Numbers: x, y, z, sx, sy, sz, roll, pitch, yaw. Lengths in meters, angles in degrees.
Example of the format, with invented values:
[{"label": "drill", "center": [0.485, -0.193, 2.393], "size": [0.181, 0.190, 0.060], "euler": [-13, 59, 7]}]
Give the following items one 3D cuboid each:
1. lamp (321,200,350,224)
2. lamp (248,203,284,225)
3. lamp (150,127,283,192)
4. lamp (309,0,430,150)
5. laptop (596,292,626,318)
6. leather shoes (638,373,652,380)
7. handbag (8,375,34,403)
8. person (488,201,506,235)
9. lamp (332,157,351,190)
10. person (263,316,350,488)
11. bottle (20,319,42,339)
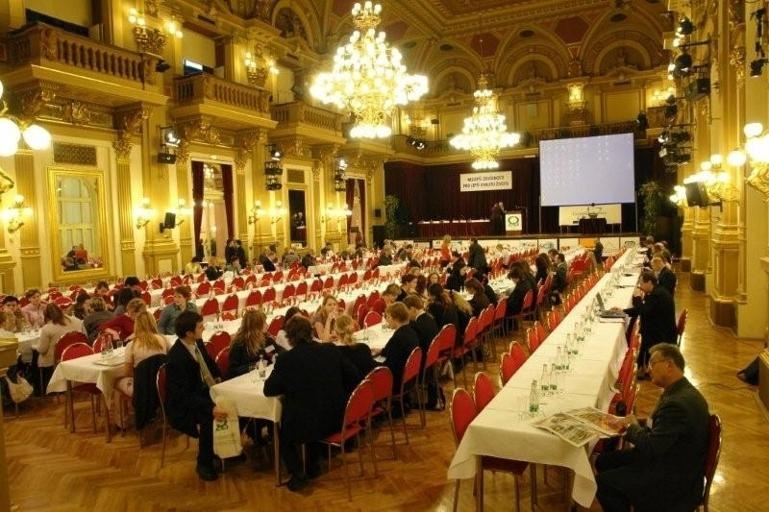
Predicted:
[{"label": "lamp", "center": [-2.166, -1.855, 24.684], "size": [0.209, 0.757, 1.625], "euler": [10, 17, 40]}, {"label": "lamp", "center": [-4.393, -1.580, 21.254], "size": [0.214, 0.891, 1.828], "euler": [7, 16, 34]}, {"label": "lamp", "center": [-5.165, -3.239, 19.590], "size": [1.126, 2.389, 5.653], "euler": [7, 8, 36]}, {"label": "lamp", "center": [-0.381, -4.126, 12.830], "size": [2.251, 2.904, 1.153], "euler": [-3, 13, -7]}, {"label": "laptop", "center": [3.956, 0.776, 10.128], "size": [0.337, 0.317, 0.620], "euler": [-1, -1, 20]}, {"label": "leather shoes", "center": [4.605, 2.135, 10.275], "size": [0.125, 0.094, 0.132], "euler": [-3, -2, 32]}, {"label": "handbag", "center": [-6.034, 2.204, 9.562], "size": [0.339, 0.432, 0.234], "euler": [-39, -12, 16]}, {"label": "person", "center": [5.334, -1.724, 27.046], "size": [0.662, 1.395, 0.766], "euler": [-6, 13, -18]}, {"label": "lamp", "center": [-1.877, -3.473, 24.880], "size": [0.706, 1.442, 0.481], "euler": [-12, 16, -39]}, {"label": "person", "center": [-1.013, 1.889, 7.596], "size": [1.090, 2.206, 0.545], "euler": [-5, 13, -14]}, {"label": "bottle", "center": [-6.488, 1.372, 10.634], "size": [0.379, 0.265, 0.393], "euler": [1, 1, 0]}]
